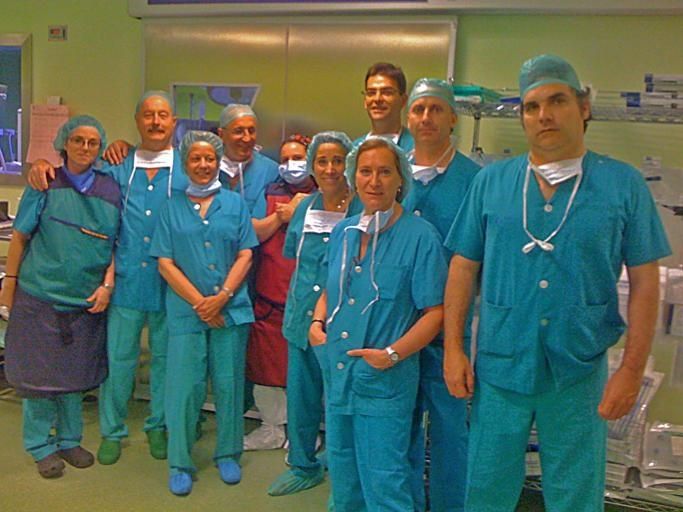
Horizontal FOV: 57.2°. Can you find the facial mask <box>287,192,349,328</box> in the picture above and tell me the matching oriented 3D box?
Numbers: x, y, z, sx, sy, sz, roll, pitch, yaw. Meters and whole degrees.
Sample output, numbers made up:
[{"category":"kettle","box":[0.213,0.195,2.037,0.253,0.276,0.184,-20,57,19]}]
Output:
[{"category":"facial mask","box":[-0.097,0.028,3.227,0.304,0.701,0.296,2,13,7]}]

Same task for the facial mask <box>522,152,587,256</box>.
[{"category":"facial mask","box":[0.766,-0.184,2.288,0.208,0.345,0.129,4,10,18]}]

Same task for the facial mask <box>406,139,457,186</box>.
[{"category":"facial mask","box":[0.410,-0.419,2.856,0.174,0.212,0.097,26,-14,31]}]
